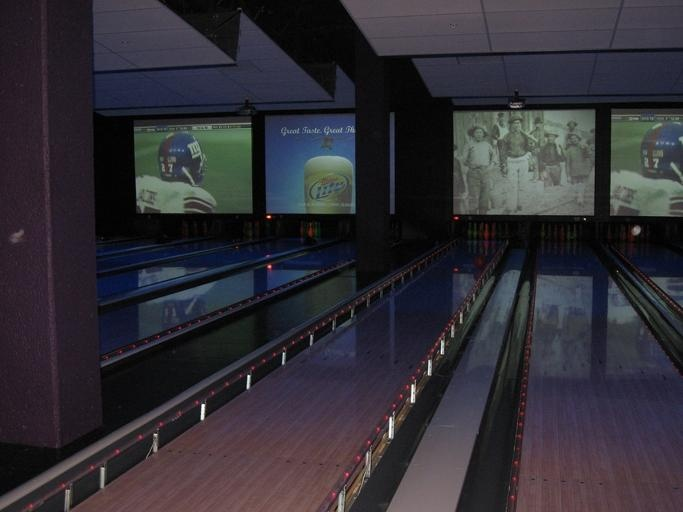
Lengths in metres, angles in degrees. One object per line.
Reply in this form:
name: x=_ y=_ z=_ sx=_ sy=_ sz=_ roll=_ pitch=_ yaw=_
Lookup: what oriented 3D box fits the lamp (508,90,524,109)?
lamp: x=2.648 y=-2.346 z=7.534 sx=0.199 sy=0.302 sz=0.835 roll=2 pitch=9 yaw=19
